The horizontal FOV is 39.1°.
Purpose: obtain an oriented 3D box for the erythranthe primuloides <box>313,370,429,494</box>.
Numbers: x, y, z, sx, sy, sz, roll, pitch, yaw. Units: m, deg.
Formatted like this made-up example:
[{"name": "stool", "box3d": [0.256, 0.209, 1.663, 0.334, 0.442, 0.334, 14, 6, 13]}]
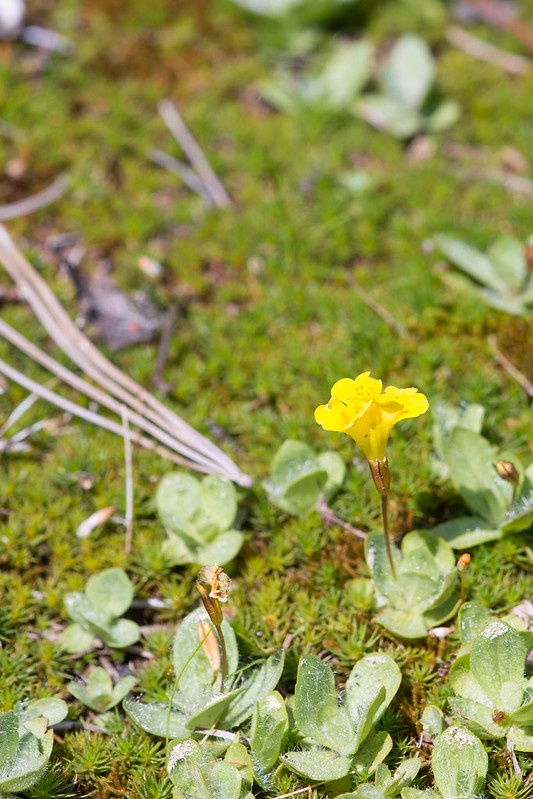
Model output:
[{"name": "erythranthe primuloides", "box3d": [0.254, 0.066, 1.823, 0.199, 0.278, 0.194, 29, 58, 31]}]
